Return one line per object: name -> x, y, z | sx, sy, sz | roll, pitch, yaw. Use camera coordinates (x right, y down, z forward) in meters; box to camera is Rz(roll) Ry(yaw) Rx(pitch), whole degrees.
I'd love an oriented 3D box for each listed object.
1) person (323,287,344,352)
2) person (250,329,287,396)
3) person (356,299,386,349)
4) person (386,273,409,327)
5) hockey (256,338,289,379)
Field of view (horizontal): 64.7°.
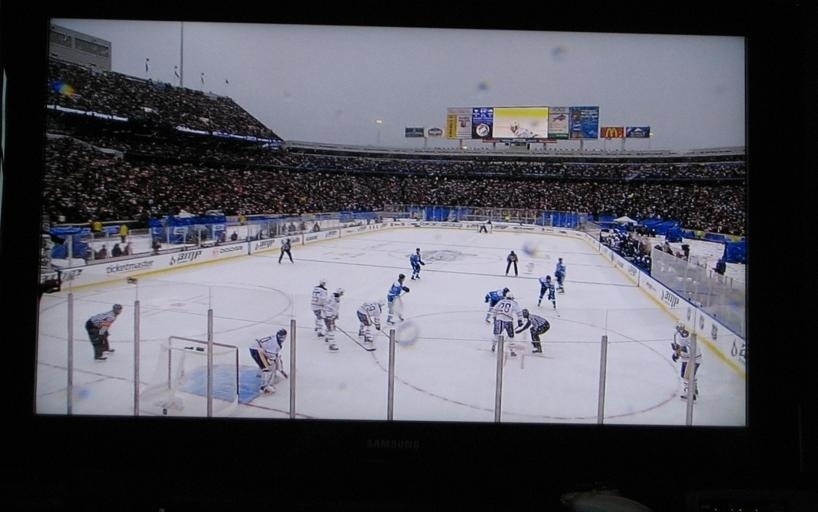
person -> -1.178, 0.953, 9.937 | 0.303, 0.755, 1.102 | -1, 9, -6
person -> -1.811, 1.361, 8.507 | 0.484, 0.706, 0.552 | -4, 10, -28
person -> -0.627, 1.147, 10.614 | 0.548, 1.048, 0.381 | -7, 20, -19
person -> -0.230, 0.914, 12.902 | 0.500, 0.922, 0.352 | -11, 46, -9
hockey -> -1.812, 1.324, 8.550 | 0.449, 0.515, 0.202 | -21, -3, -43
